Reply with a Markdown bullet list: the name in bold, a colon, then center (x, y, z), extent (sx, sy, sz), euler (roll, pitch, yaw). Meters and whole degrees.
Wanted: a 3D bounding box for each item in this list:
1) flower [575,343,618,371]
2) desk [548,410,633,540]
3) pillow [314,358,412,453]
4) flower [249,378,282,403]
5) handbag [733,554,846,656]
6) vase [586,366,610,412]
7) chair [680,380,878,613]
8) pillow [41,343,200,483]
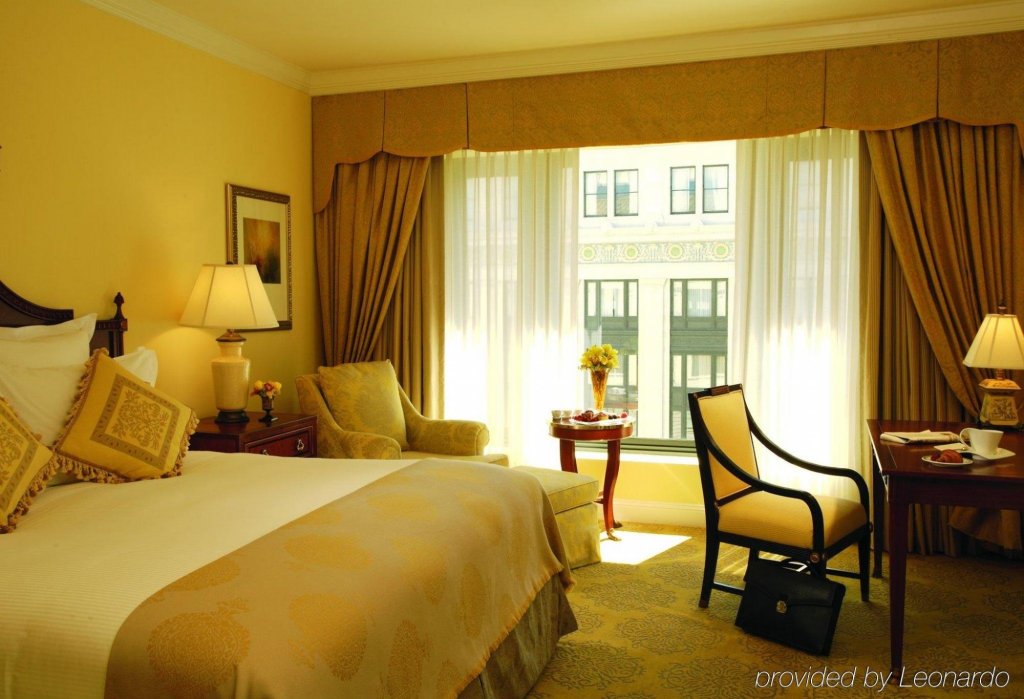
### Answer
- **flower**: center (0.684, 0.053, 5.667), extent (0.221, 0.187, 0.228), euler (1, 2, 31)
- **desk**: center (0.700, 0.996, 5.655), extent (0.599, 0.812, 0.629), euler (3, -5, 19)
- **pillow**: center (-1.103, 0.380, 5.545), extent (0.648, 0.663, 0.197), euler (-7, -20, -46)
- **flower**: center (-1.830, 0.304, 5.385), extent (0.253, 0.147, 0.198), euler (-3, -6, 38)
- **handbag**: center (1.585, 1.480, 4.157), extent (0.454, 0.429, 0.153), euler (8, -6, 36)
- **vase**: center (0.690, 0.317, 5.718), extent (0.130, 0.378, 0.441), euler (0, 9, 7)
- **chair**: center (1.772, 0.795, 5.086), extent (1.285, 1.790, 1.270), euler (0, 1, 34)
- **pillow**: center (-1.993, 0.388, 3.767), extent (0.166, 0.638, 0.641), euler (-21, -53, 41)
